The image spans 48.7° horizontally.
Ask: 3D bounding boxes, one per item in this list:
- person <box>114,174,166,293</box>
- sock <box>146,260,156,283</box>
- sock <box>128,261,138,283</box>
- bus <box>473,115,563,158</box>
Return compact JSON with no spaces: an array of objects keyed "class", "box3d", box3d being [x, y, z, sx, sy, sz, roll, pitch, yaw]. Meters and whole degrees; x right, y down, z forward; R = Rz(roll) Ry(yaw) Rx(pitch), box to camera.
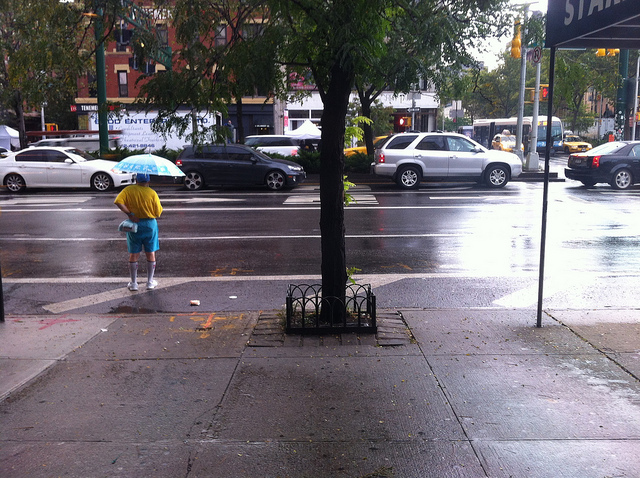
[{"class":"person","box3d":[-2.913,-0.196,11.319,0.676,1.964,0.613,-5,13,-36]},{"class":"sock","box3d":[-2.731,0.496,11.422,0.112,0.364,0.323,-3,12,-14]},{"class":"sock","box3d":[-2.946,0.515,11.176,0.092,0.342,0.105,-4,11,-18]},{"class":"bus","box3d":[17.014,-9.137,63.530,3.333,3.695,12.985,-2,8,-12]}]
